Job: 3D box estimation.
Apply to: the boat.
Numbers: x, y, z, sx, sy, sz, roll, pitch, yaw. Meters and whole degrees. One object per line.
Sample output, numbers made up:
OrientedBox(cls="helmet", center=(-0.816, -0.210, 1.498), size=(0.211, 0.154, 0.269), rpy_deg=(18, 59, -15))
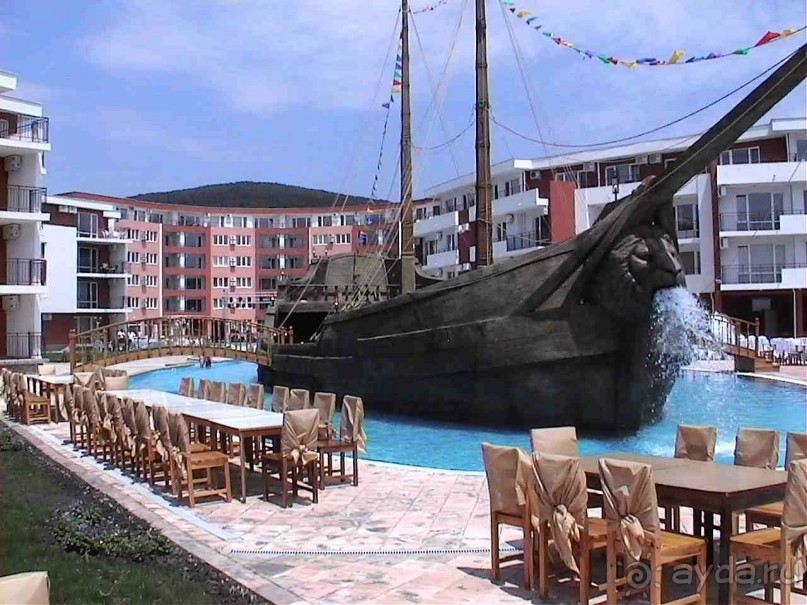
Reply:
OrientedBox(cls="boat", center=(3.070, 0.253, 20.029), size=(4.442, 8.821, 15.080), rpy_deg=(1, -7, -29))
